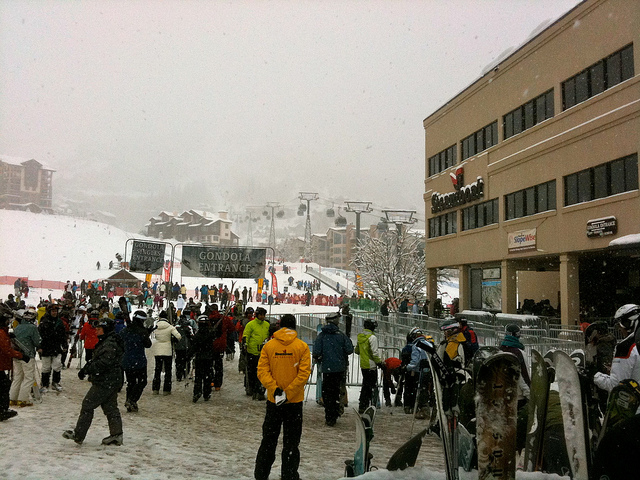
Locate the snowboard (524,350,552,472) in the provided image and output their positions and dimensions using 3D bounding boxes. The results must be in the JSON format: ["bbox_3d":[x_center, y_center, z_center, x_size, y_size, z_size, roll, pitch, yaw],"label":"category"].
[{"bbox_3d":[3.048,2.417,8.077,0.218,1.689,0.522,3,-6,-13],"label":"snowboard"}]

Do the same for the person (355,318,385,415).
[{"bbox_3d":[1.102,2.824,12.933,0.594,2.042,0.817,0,-6,6],"label":"person"}]

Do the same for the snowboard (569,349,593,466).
[{"bbox_3d":[3.345,2.208,7.400,0.179,1.582,0.203,-5,-1,-20],"label":"snowboard"}]

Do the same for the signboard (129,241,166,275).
[{"bbox_3d":[-7.714,0.813,25.680,1.430,1.676,0.127,8,-34,-22],"label":"signboard"}]

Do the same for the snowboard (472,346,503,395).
[{"bbox_3d":[2.028,1.613,7.148,0.318,0.548,0.280,1,-11,6],"label":"snowboard"}]

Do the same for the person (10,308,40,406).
[{"bbox_3d":[-6.489,2.590,12.669,0.512,2.067,0.941,4,-7,-28],"label":"person"}]

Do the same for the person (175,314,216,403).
[{"bbox_3d":[-2.855,2.831,13.726,0.608,2.018,0.542,2,-6,-11],"label":"person"}]

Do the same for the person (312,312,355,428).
[{"bbox_3d":[0.262,2.710,12.061,0.821,2.299,0.544,1,-6,2],"label":"person"}]

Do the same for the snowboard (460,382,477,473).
[{"bbox_3d":[2.198,2.870,8.561,0.255,0.322,1.935,0,13,11],"label":"snowboard"}]

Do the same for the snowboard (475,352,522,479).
[{"bbox_3d":[2.099,2.088,6.805,0.515,1.500,0.362,-1,-6,15],"label":"snowboard"}]

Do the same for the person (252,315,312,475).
[{"bbox_3d":[-0.611,2.450,9.123,0.842,2.492,1.366,2,-7,-6],"label":"person"}]

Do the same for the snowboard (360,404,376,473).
[{"bbox_3d":[0.651,2.620,7.687,0.133,1.025,0.212,0,-1,-38],"label":"snowboard"}]
